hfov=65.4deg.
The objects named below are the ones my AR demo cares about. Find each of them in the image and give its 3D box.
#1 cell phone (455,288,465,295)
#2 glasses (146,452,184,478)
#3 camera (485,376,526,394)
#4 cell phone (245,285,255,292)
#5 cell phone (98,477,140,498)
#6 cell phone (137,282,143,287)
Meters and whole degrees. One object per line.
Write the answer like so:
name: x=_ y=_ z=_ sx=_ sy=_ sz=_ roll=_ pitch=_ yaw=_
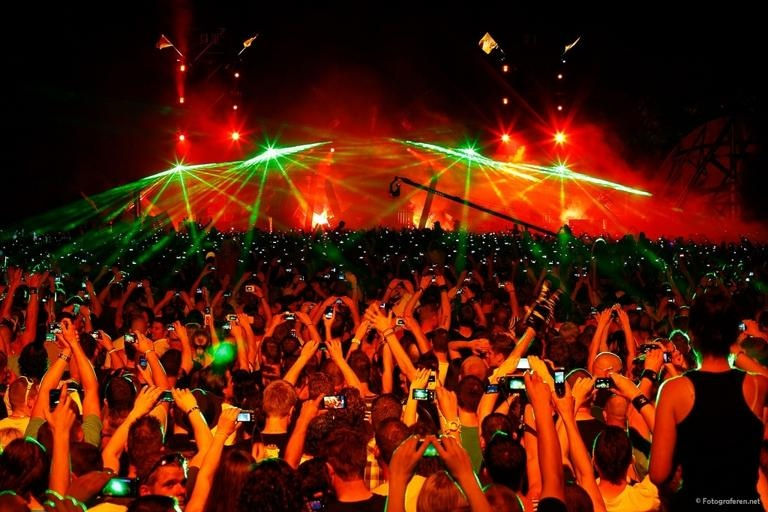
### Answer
cell phone: x=1.304 y=0.624 z=10.258 sx=0.143 sy=0.054 sz=0.146 roll=-2 pitch=11 yaw=36
glasses: x=-1.775 y=1.698 z=4.925 sx=0.229 sy=0.071 sz=0.202 roll=-36 pitch=-32 yaw=15
camera: x=1.112 y=1.141 z=5.370 sx=0.260 sy=0.080 sz=0.262 roll=1 pitch=-7 yaw=-11
cell phone: x=-2.280 y=0.549 z=10.269 sx=0.086 sy=0.088 sz=0.157 roll=1 pitch=-4 yaw=0
cell phone: x=-1.990 y=1.739 z=4.550 sx=0.347 sy=0.142 sz=0.154 roll=-19 pitch=-41 yaw=26
cell phone: x=-4.706 y=0.540 z=11.644 sx=0.117 sy=0.119 sz=0.067 roll=-1 pitch=-63 yaw=-4
